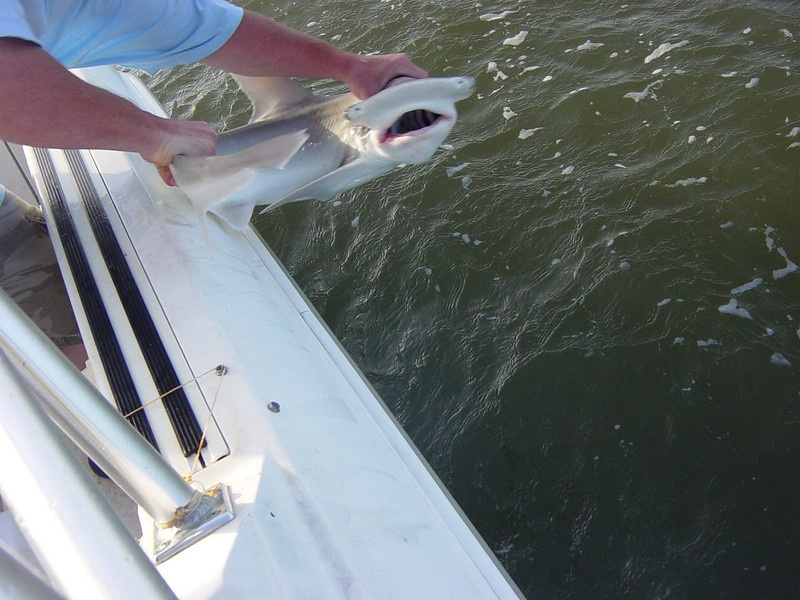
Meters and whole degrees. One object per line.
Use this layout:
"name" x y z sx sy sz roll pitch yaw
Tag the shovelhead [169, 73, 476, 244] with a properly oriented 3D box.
"shovelhead" -0.279 -0.573 3.259 1.550 0.753 0.655 12 18 33
